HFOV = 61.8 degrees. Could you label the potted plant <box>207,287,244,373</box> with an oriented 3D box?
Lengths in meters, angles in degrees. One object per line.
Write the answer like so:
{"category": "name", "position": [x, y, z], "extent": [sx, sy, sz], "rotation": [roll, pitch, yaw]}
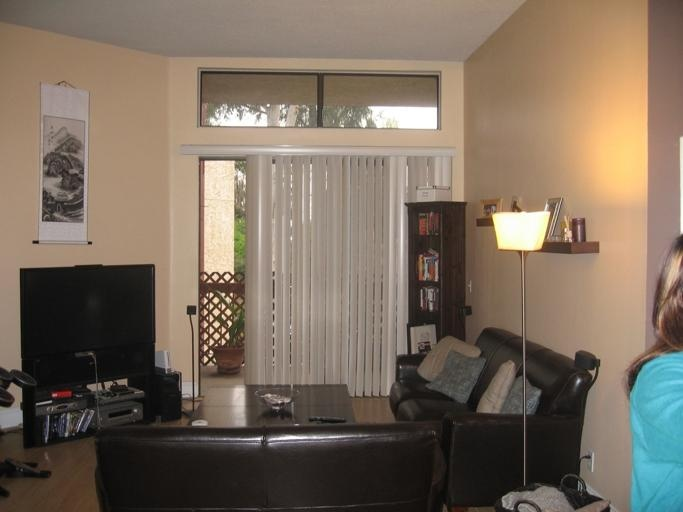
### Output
{"category": "potted plant", "position": [-1.585, 1.015, 7.722], "extent": [0.474, 1.094, 0.833], "rotation": [-2, 3, -14]}

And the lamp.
{"category": "lamp", "position": [1.350, 0.623, 4.231], "extent": [0.351, 1.908, 0.993], "rotation": [0, 3, 20]}

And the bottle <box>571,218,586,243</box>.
{"category": "bottle", "position": [1.773, -0.198, 4.288], "extent": [0.096, 0.170, 0.079], "rotation": [1, 4, 30]}

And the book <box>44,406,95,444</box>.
{"category": "book", "position": [-2.515, 1.552, 5.242], "extent": [0.437, 0.254, 0.047], "rotation": [-3, 4, -34]}

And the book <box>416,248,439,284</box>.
{"category": "book", "position": [0.971, 0.136, 6.380], "extent": [0.260, 0.414, 0.395], "rotation": [0, -3, 17]}

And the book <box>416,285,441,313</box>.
{"category": "book", "position": [0.948, 0.479, 6.327], "extent": [0.235, 0.325, 0.231], "rotation": [0, -3, 11]}

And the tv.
{"category": "tv", "position": [-2.484, 0.529, 5.450], "extent": [0.878, 0.638, 0.115], "rotation": [0, 1, -38]}

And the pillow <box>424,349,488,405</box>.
{"category": "pillow", "position": [1.032, 1.066, 5.079], "extent": [0.122, 0.408, 0.410], "rotation": [29, -7, -21]}

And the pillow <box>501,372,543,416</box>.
{"category": "pillow", "position": [1.327, 1.029, 4.203], "extent": [0.120, 0.261, 0.265], "rotation": [20, 1, -21]}
